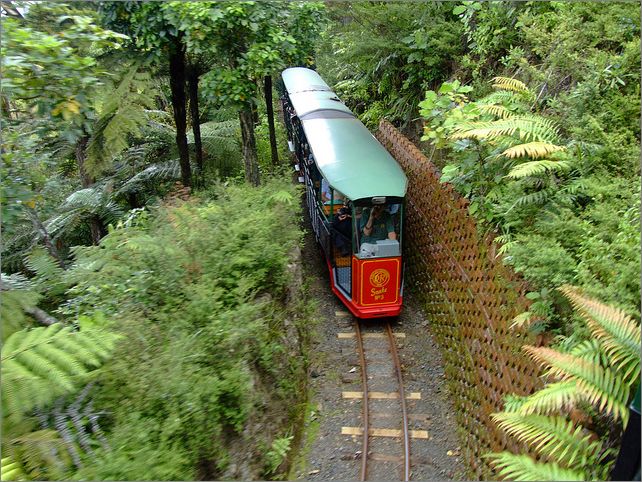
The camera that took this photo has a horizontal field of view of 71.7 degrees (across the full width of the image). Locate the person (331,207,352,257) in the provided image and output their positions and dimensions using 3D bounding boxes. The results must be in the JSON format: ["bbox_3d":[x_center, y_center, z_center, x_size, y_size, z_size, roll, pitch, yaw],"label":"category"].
[{"bbox_3d":[0.467,-0.185,9.385,0.357,1.023,0.902,-11,30,-8],"label":"person"}]

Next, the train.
[{"bbox_3d":[0.328,-2.132,11.390,1.864,2.109,8.257,-4,41,-5],"label":"train"}]

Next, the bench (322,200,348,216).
[{"bbox_3d":[0.249,-0.753,10.022,0.347,0.155,0.420,-1,27,-1],"label":"bench"}]
